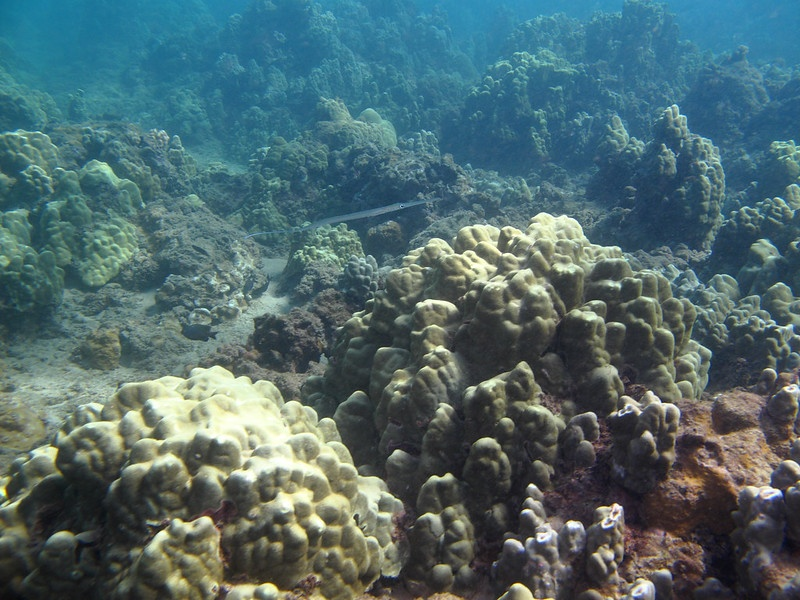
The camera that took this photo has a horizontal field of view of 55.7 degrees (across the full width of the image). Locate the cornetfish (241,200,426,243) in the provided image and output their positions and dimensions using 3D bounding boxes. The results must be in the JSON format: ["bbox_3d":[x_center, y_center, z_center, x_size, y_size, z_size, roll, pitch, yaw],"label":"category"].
[{"bbox_3d":[-2.248,-2.647,26.096,5.574,0.425,0.502,-12,57,7],"label":"cornetfish"}]
